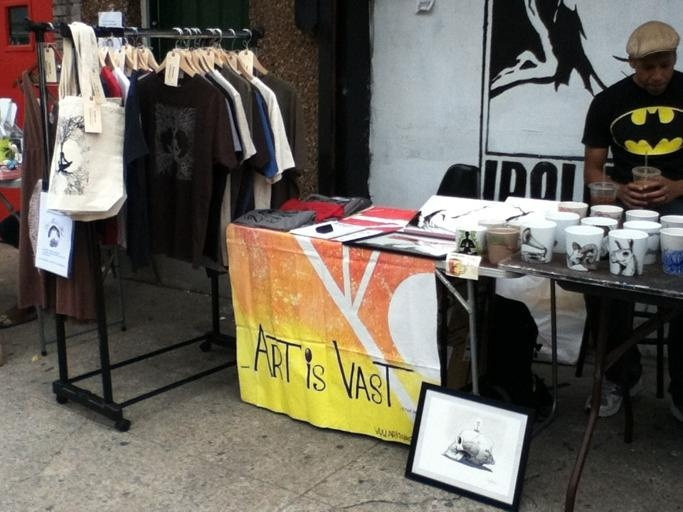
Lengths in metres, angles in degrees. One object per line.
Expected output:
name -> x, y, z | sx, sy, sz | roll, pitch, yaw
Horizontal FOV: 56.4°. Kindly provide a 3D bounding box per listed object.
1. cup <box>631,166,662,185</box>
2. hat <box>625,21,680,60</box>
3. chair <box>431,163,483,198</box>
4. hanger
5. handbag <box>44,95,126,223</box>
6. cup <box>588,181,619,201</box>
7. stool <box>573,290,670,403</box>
cup -> 1.712, -0.451, 3.572 | 0.140, 0.101, 0.157 | 9, 19, 28
hat -> 1.753, -1.216, 3.603 | 0.191, 0.208, 0.265 | -6, 17, -20
chair -> 0.869, -0.555, 4.715 | 0.299, 0.217, 0.242 | 4, 17, 13
hanger -> -1.022, -1.485, 4.238 | 1.816, 0.644, 0.416 | 13, 23, 26
handbag -> -1.442, -0.540, 3.582 | 0.403, 0.669, 0.227 | 0, 15, 1
cup -> 1.356, -0.325, 3.316 | 0.109, 0.098, 0.117 | -2, 15, 0
stool -> 1.615, 0.540, 3.700 | 0.401, 0.620, 0.476 | 12, 18, 33
